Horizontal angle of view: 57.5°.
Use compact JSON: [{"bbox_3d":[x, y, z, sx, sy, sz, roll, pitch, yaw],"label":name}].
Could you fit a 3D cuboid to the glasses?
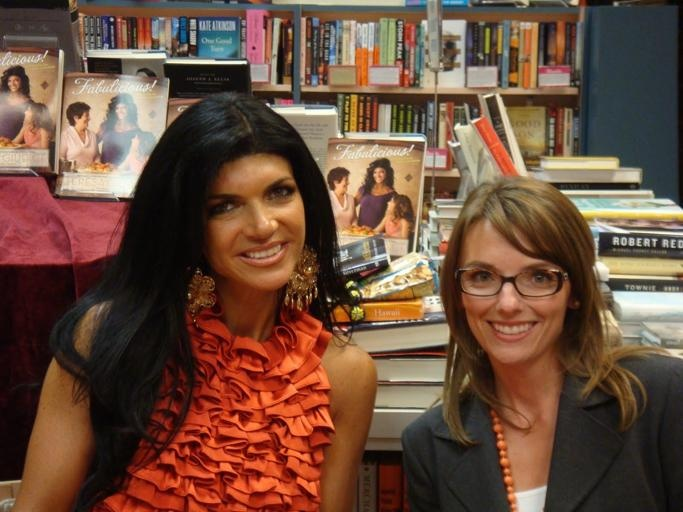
[{"bbox_3d":[0.387,0.058,1.422,0.247,0.074,0.049,2,11,10],"label":"glasses"}]
